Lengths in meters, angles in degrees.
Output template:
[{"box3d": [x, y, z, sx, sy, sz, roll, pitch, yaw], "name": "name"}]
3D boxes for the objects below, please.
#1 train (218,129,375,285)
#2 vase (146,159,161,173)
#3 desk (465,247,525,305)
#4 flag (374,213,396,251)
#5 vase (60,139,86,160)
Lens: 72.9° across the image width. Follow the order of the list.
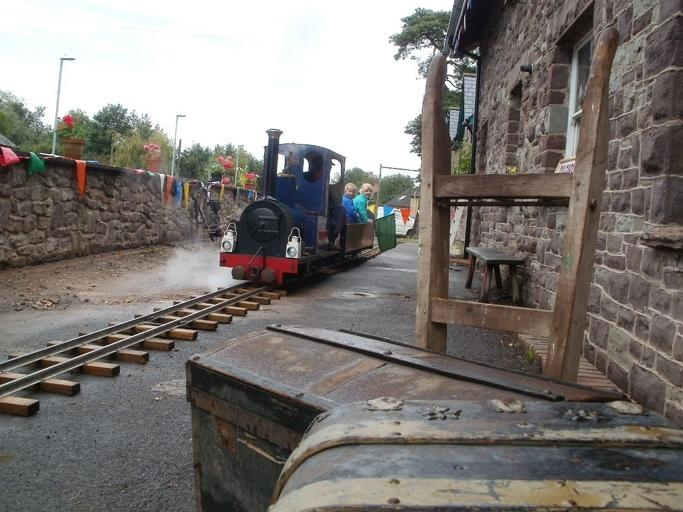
[{"box3d": [-0.813, -0.957, 9.416, 1.300, 2.813, 4.012, 0, 4, 16], "name": "train"}, {"box3d": [-5.803, -2.792, 14.319, 0.461, 0.394, 0.490, 0, 2, 6], "name": "vase"}, {"box3d": [2.476, 0.265, 7.658, 0.572, 0.697, 2.050, 1, 7, 7], "name": "desk"}, {"box3d": [1.570, -0.819, 16.464, 0.723, 1.398, 1.486, -1, 4, 4], "name": "flag"}, {"box3d": [-6.002, -2.386, 10.290, 0.448, 0.525, 0.707, -4, 5, -31], "name": "vase"}]
